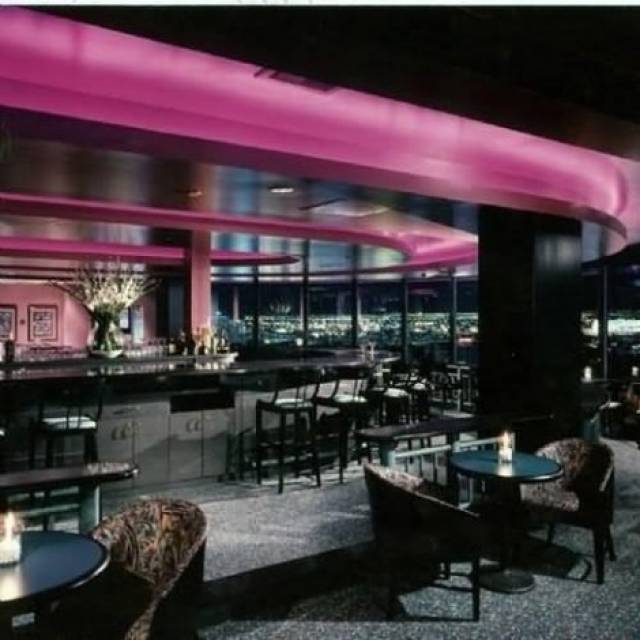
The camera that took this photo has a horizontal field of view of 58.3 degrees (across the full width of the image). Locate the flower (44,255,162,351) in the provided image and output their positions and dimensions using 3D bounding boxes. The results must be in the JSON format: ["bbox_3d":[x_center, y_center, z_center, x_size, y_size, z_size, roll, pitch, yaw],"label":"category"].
[{"bbox_3d":[-2.521,-0.103,6.349,1.088,1.077,0.977,1,-4,33],"label":"flower"}]

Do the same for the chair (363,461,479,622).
[{"bbox_3d":[0.586,1.205,3.199,0.654,0.680,0.663,6,-7,-38],"label":"chair"}]

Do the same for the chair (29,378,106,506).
[{"bbox_3d":[-2.001,0.850,4.533,0.472,0.713,0.451,1,2,-33],"label":"chair"}]

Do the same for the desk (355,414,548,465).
[{"bbox_3d":[0.977,0.922,4.258,1.433,0.307,0.322,0,0,-34],"label":"desk"}]

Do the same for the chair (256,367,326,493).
[{"bbox_3d":[-0.233,1.040,5.592,0.563,1.034,0.578,-11,-15,42],"label":"chair"}]

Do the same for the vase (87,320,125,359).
[{"bbox_3d":[-2.399,0.239,6.505,0.432,0.561,0.391,0,-5,-2],"label":"vase"}]

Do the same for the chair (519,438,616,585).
[{"bbox_3d":[1.664,1.217,3.802,0.564,0.697,0.524,-2,4,38],"label":"chair"}]

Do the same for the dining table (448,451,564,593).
[{"bbox_3d":[1.192,1.222,3.637,0.739,0.724,0.734,1,-1,-24],"label":"dining table"}]
